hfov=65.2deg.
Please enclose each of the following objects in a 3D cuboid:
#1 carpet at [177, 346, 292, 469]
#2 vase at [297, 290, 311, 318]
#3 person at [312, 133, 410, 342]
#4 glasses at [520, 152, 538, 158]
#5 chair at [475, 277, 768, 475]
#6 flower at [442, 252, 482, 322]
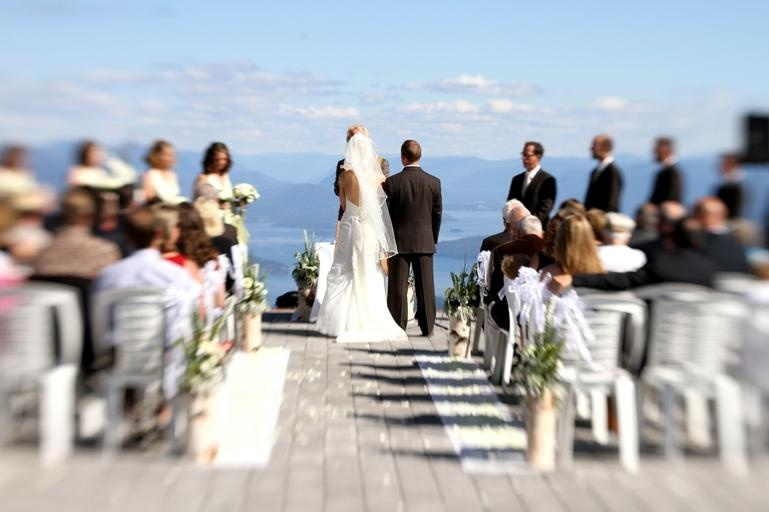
[{"bbox_3d":[-1.056,0.940,4.305,0.455,0.063,1.387,-1,13,-6],"label":"carpet"},{"bbox_3d":[-1.004,0.598,7.620,0.195,0.343,0.089,18,22,19],"label":"vase"},{"bbox_3d":[-0.269,-0.211,6.684,0.900,2.266,0.524,0,11,-4],"label":"person"},{"bbox_3d":[1.651,-1.163,6.872,0.169,0.061,0.076,3,11,14],"label":"glasses"},{"bbox_3d":[1.754,0.748,4.127,1.528,1.218,0.790,0,11,-5],"label":"chair"},{"bbox_3d":[0.763,0.326,5.793,0.504,0.714,0.464,-2,-11,18],"label":"flower"}]
